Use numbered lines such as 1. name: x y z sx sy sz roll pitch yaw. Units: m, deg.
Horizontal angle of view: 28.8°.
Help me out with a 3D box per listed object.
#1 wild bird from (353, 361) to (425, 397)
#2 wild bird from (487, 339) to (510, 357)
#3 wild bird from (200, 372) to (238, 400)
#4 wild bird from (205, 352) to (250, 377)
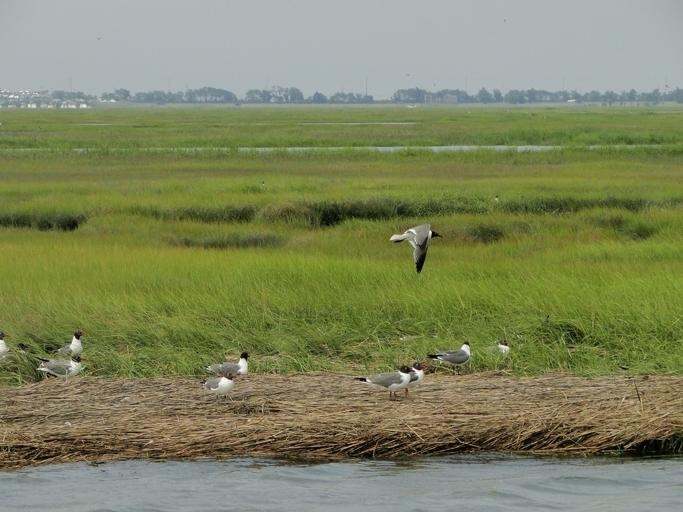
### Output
1. wild bird: 1.320 3.413 35.282 1.508 0.850 1.710 -3 7 -7
2. wild bird: 4.387 2.632 37.900 0.664 0.497 0.392 -1 2 31
3. wild bird: -3.265 3.400 35.443 0.917 0.660 0.555 23 21 23
4. wild bird: -3.006 2.986 35.997 1.061 0.676 0.663 3 1 1
